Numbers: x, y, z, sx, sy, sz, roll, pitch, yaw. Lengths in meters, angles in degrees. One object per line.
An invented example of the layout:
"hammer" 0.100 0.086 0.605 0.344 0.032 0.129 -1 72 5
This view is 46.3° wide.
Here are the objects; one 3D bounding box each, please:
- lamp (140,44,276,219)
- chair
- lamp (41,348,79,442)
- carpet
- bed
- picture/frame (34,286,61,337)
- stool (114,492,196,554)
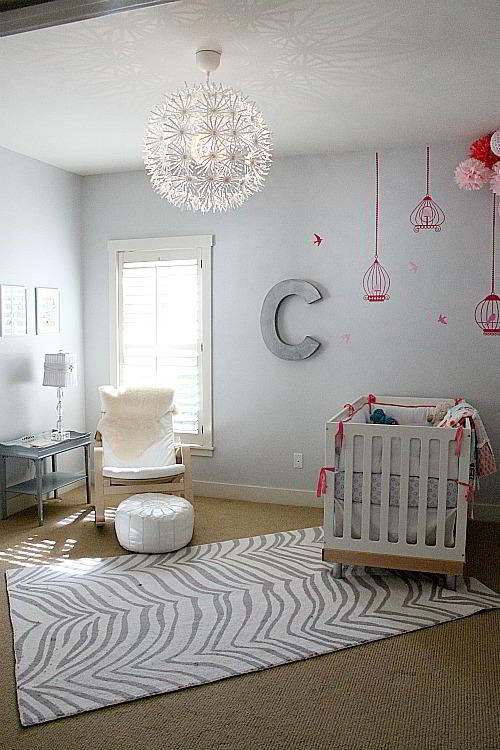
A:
"lamp" -0.184 -0.885 2.298 0.495 0.398 0.366 0 4 7
"chair" -0.713 0.506 3.839 0.615 0.851 0.796 1 -3 -12
"lamp" -1.365 0.135 4.189 0.210 0.602 0.538 -1 4 -19
"carpet" -0.150 1.021 2.758 1.863 0.026 1.326 -2 4 -23
"bed" 0.798 0.559 3.177 0.524 0.614 0.950 1 2 16
"picture/frame" -1.485 -0.469 4.261 0.017 0.364 0.370 2 5 21
"stool" -0.554 0.855 3.406 0.459 0.235 0.474 3 6 20
